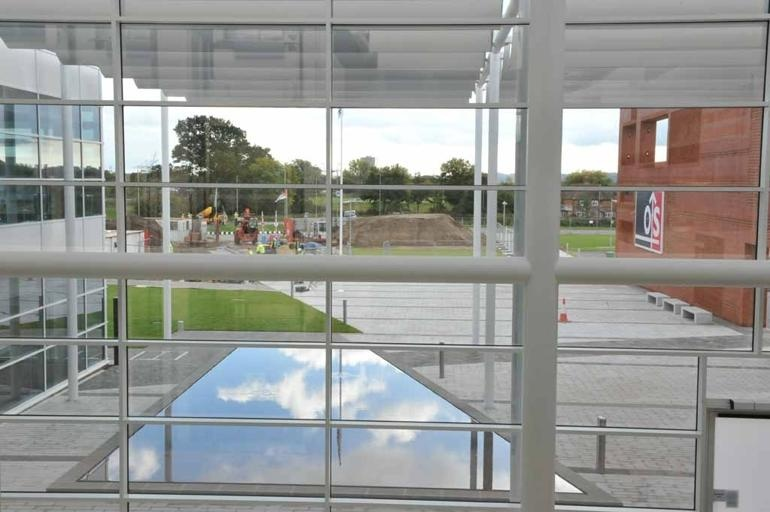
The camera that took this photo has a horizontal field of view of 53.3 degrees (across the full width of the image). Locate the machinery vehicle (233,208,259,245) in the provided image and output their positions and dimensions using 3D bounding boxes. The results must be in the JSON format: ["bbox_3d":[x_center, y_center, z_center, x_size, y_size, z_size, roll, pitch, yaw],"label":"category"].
[{"bbox_3d":[-3.353,-0.488,19.138,0.580,0.793,0.844,7,-4,-5],"label":"machinery vehicle"}]

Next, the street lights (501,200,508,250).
[{"bbox_3d":[2.946,-0.834,18.850,0.129,0.940,0.080,1,8,8],"label":"street lights"}]

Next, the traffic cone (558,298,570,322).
[{"bbox_3d":[6.517,2.025,27.751,0.389,1.080,0.985,2,8,13],"label":"traffic cone"}]

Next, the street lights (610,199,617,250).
[{"bbox_3d":[5.807,-0.767,19.539,0.169,1.308,0.349,2,8,16],"label":"street lights"}]

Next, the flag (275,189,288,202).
[{"bbox_3d":[-2.497,-1.416,18.715,0.316,0.274,0.056,1,8,4],"label":"flag"}]
